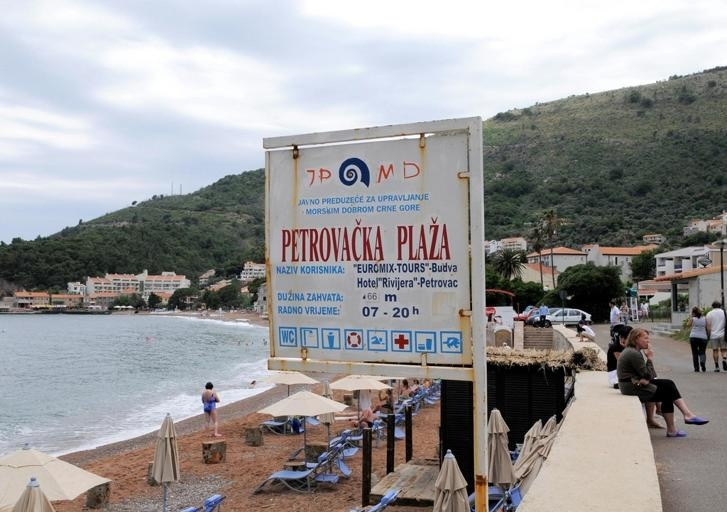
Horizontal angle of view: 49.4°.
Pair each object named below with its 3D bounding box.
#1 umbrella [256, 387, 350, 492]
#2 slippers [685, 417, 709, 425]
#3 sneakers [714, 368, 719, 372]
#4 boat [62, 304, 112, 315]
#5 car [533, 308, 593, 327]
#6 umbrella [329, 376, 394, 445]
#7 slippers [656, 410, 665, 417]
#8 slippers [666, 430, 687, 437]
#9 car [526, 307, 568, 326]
[{"bbox_3d":[-1.703,5.307,23.169,2.523,2.645,2.715,0,-16,-19],"label":"umbrella"},{"bbox_3d":[7.346,3.617,17.332,0.531,0.220,0.209,-3,-7,11],"label":"slippers"},{"bbox_3d":[10.607,3.427,23.715,0.060,0.126,0.181,-1,5,1],"label":"sneakers"},{"bbox_3d":[-71.177,13.754,202.514,11.450,2.446,6.561,7,-4,-23],"label":"boat"},{"bbox_3d":[10.623,3.322,42.676,3.003,1.022,1.418,1,-3,-2],"label":"car"},{"bbox_3d":[-0.143,4.964,26.207,2.105,2.111,2.274,0,-3,31],"label":"umbrella"},{"bbox_3d":[6.856,3.657,18.270,0.125,0.162,0.376,-2,2,36],"label":"slippers"},{"bbox_3d":[6.894,3.931,17.431,0.290,0.110,0.164,-3,-6,8],"label":"slippers"},{"bbox_3d":[9.974,3.367,43.138,1.959,0.968,1.215,2,-6,-8],"label":"car"}]
